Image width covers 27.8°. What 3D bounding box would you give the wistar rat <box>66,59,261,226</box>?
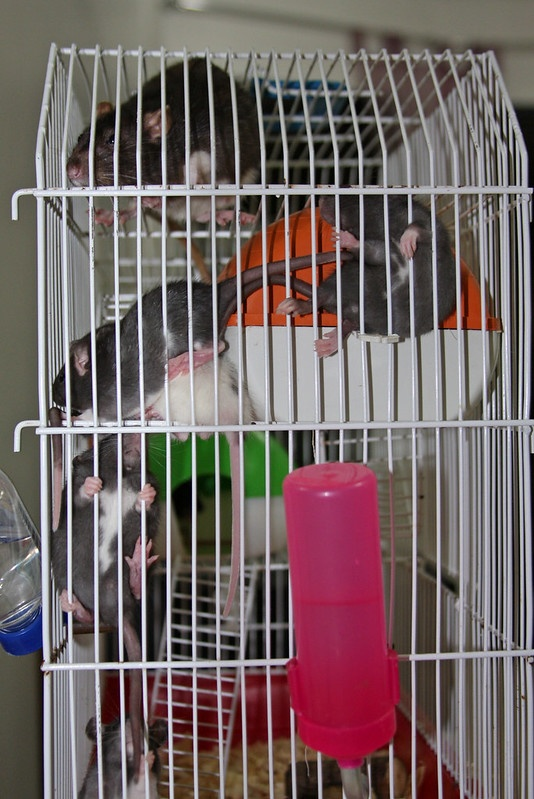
[{"bbox_3d":[-0.148,-0.418,1.702,0.196,0.203,0.324,22,38,29],"label":"wistar rat"}]

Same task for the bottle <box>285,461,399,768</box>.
[{"bbox_3d":[0.084,0.242,1.233,0.124,0.398,0.123,-5,23,2],"label":"bottle"}]

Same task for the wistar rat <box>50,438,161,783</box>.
[{"bbox_3d":[-0.231,0.246,1.547,0.111,0.548,0.149,0,-3,-24],"label":"wistar rat"}]

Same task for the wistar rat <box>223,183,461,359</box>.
[{"bbox_3d":[0.143,-0.214,1.526,0.255,0.236,0.186,3,43,5],"label":"wistar rat"}]
